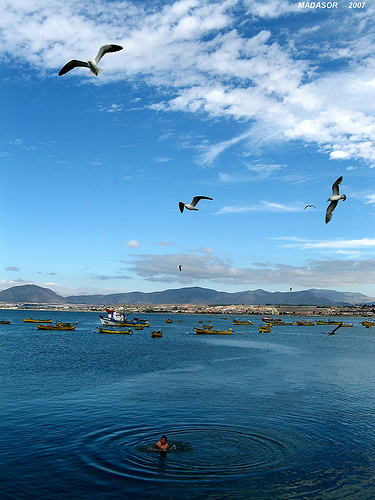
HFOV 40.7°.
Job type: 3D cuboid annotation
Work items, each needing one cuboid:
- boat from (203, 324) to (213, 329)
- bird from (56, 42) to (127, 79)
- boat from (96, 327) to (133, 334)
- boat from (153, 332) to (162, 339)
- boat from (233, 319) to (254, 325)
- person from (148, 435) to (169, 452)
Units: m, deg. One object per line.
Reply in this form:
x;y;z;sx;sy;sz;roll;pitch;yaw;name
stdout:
4.857;17.901;121.002;2.917;0.771;2.671;-1;-16;5;boat
-4.495;-8.767;23.776;3.298;0.604;1.402;-23;-8;-2;bird
-15.948;18.010;112.256;3.276;1.207;8.730;3;-3;-44;boat
-5.752;16.216;97.598;2.102;0.868;1.253;-3;37;-12;boat
18.809;24.340;170.602;4.996;1.645;10.033;0;-2;20;boat
-1.265;8.561;22.512;0.841;0.583;0.668;1;-2;6;person
